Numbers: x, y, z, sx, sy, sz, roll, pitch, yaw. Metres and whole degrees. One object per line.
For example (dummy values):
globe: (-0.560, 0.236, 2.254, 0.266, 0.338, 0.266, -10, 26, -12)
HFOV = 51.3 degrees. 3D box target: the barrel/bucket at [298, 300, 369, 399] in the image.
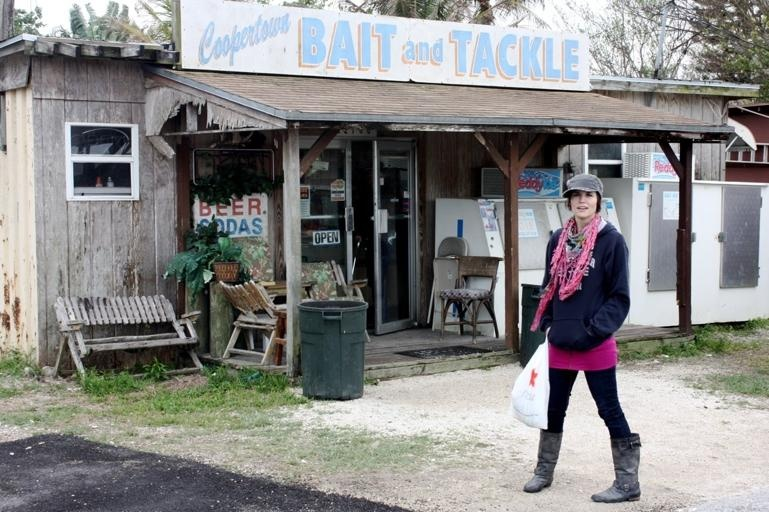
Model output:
barrel/bucket: (-0.573, 1.141, 10.116, 0.994, 1.182, 1.060, 0, -1, 0)

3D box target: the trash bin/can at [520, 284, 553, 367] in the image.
trash bin/can: (2.161, 0.965, 11.204, 0.567, 0.950, 0.651, 4, -7, 31)

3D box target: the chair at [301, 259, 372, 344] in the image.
chair: (-0.638, 0.624, 12.321, 1.106, 1.614, 1.002, 1, 0, 37)

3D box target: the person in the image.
person: (1.828, 0.728, 7.203, 0.976, 2.860, 0.567, 3, 9, 18)

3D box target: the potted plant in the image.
potted plant: (-2.578, -0.038, 11.467, 1.105, 1.110, 0.536, -12, 9, -33)

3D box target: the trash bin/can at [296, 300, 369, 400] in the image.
trash bin/can: (-0.613, 1.169, 10.205, 1.000, 1.190, 1.067, 0, -1, -17)

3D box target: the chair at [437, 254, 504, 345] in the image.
chair: (1.285, 0.659, 12.560, 0.964, 1.293, 0.983, 4, 9, 23)

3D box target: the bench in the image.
bench: (-3.518, 1.096, 11.032, 0.917, 1.042, 1.894, 3, 1, 39)

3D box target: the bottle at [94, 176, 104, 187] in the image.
bottle: (-3.973, -1.047, 11.189, 0.122, 0.143, 0.125, 2, 1, -8)
